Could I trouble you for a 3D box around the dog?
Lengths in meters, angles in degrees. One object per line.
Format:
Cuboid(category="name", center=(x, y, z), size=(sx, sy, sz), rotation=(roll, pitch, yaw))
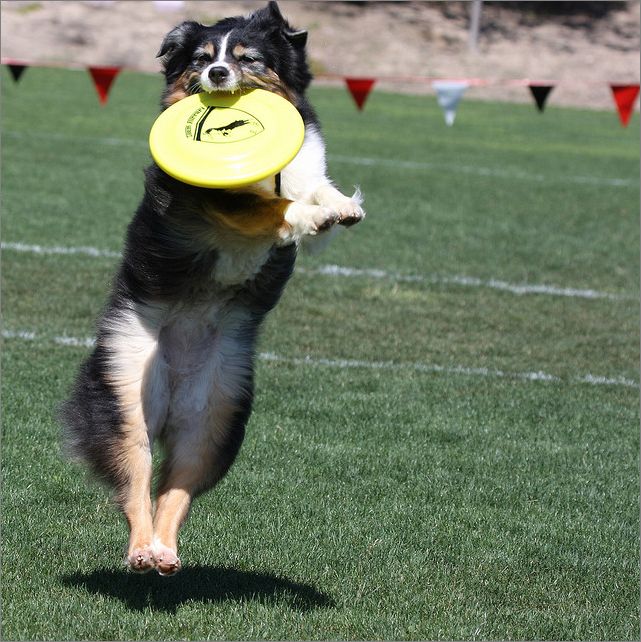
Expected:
Cuboid(category="dog", center=(-0.672, -0.192, 7.674), size=(1.385, 3.178, 1.804), rotation=(12, 20, 13))
